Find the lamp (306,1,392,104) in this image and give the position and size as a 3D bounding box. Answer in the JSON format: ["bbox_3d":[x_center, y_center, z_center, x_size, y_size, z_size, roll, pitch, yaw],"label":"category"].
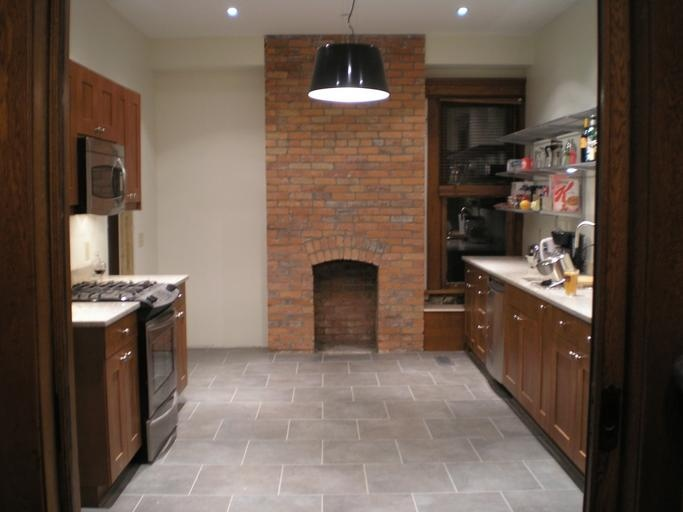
[{"bbox_3d":[0.051,-1.232,3.319,0.447,0.496,0.449,4,8,28],"label":"lamp"}]

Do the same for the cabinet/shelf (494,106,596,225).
[{"bbox_3d":[1.653,-0.709,4.716,0.288,0.692,1.425,1,7,-4],"label":"cabinet/shelf"}]

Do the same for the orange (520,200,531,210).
[{"bbox_3d":[1.640,-0.456,4.753,0.090,0.082,0.080,11,0,33],"label":"orange"}]

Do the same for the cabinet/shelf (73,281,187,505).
[{"bbox_3d":[-1.203,0.791,3.008,0.403,0.629,1.060,-1,4,-5],"label":"cabinet/shelf"}]

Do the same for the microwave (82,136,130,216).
[{"bbox_3d":[-1.505,-0.512,3.377,0.291,0.493,0.563,1,3,-3],"label":"microwave"}]

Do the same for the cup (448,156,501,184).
[{"bbox_3d":[1.414,-0.884,5.583,0.583,0.248,0.108,-1,8,-8],"label":"cup"}]
